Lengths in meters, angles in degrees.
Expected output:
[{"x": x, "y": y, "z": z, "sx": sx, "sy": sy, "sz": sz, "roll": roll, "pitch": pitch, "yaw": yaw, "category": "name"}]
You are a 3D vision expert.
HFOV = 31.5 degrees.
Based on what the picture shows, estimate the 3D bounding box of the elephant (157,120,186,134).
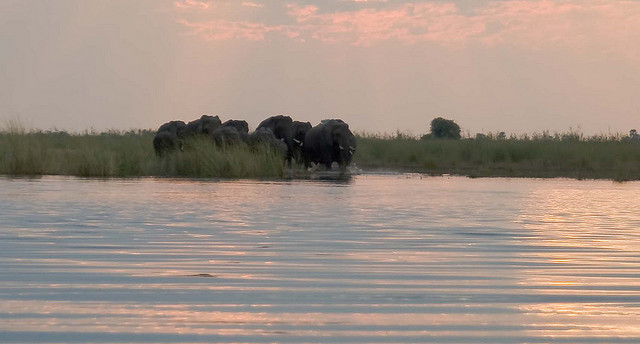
[{"x": -5.998, "y": -1.778, "z": 45.024, "sx": 1.109, "sy": 0.550, "sz": 1.180, "roll": 1, "pitch": 0, "yaw": 0, "category": "elephant"}]

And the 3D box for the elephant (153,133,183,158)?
[{"x": -5.924, "y": -1.059, "z": 44.411, "sx": 0.699, "sy": 0.972, "sz": 1.596, "roll": 2, "pitch": 0, "yaw": -33, "category": "elephant"}]

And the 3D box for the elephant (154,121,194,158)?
[{"x": -5.784, "y": -1.301, "z": 44.496, "sx": 1.411, "sy": 1.456, "sz": 1.968, "roll": 2, "pitch": 0, "yaw": -10, "category": "elephant"}]

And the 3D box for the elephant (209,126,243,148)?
[{"x": -3.458, "y": -1.300, "z": 41.788, "sx": 1.143, "sy": 0.803, "sz": 1.515, "roll": 1, "pitch": 0, "yaw": -11, "category": "elephant"}]
